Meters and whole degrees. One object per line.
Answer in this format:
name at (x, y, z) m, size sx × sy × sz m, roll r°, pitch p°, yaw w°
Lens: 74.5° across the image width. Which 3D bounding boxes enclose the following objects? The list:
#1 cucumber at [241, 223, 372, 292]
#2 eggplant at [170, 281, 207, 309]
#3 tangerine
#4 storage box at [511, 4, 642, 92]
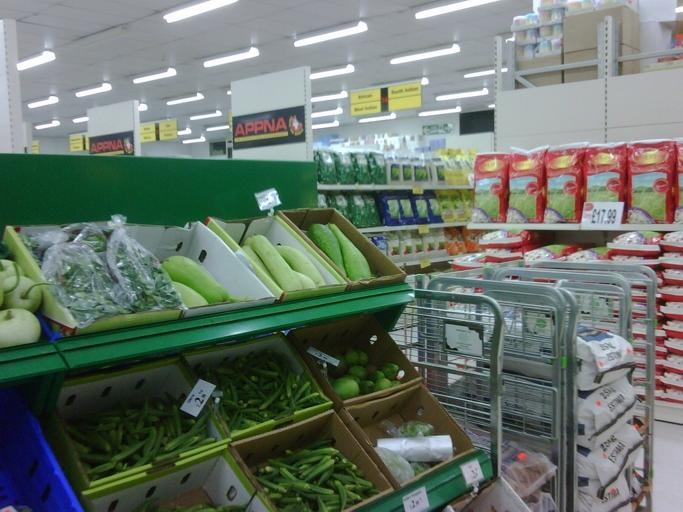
cucumber at (-0.220, 0.020, 1.797) m, size 0.324 × 0.107 × 0.249 m, roll 44°, pitch 37°, yaw 18°
eggplant at (-0.502, 0.134, 1.470) m, size 0.132 × 0.039 × 0.071 m, roll 38°, pitch 24°, yaw 30°
tangerine at (0.076, 0.510, 1.952) m, size 0.200 × 0.064 × 0.195 m, roll -3°, pitch 31°, yaw -38°
storage box at (2.111, -1.953, 4.075) m, size 1.148 × 0.695 × 0.681 m, roll -2°, pitch 12°, yaw 19°
